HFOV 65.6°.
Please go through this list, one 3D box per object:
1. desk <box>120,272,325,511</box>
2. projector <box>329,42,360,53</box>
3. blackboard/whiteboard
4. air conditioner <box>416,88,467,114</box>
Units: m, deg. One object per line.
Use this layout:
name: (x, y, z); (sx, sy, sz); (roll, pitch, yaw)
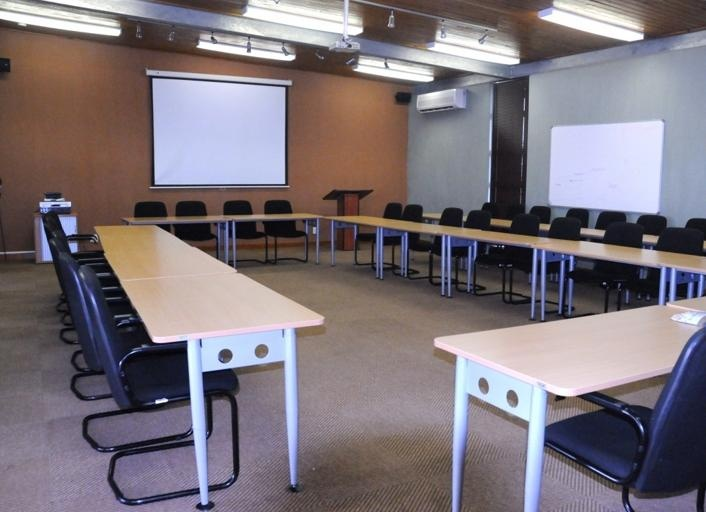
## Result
desk: (-0.827, 0.781, 3.425); (0.886, 1.059, 1.223); (-6, 11, -29)
projector: (-0.083, -2.305, 6.058); (0.240, 0.062, 0.230); (-3, 9, -19)
blackboard/whiteboard: (3.868, -1.343, 8.213); (0.072, 1.177, 1.583); (-3, 6, -36)
air conditioner: (1.768, -3.088, 10.870); (0.380, 0.400, 1.017); (-8, 12, -35)
